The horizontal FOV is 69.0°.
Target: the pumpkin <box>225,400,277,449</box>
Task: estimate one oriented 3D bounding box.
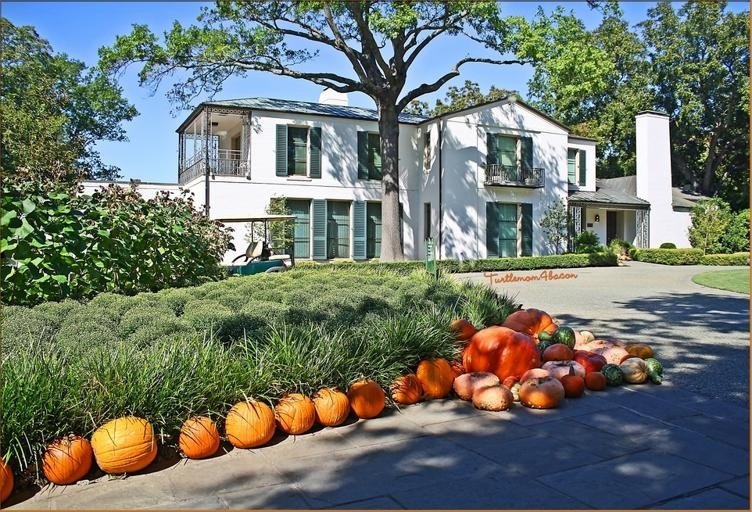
[{"bbox_3d":[-1.274,1.701,5.700,0.429,0.440,0.451,-2,-3,27],"label":"pumpkin"}]

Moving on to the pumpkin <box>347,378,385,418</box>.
[{"bbox_3d":[-0.123,1.636,6.238,0.369,0.385,0.385,-1,-1,-10],"label":"pumpkin"}]

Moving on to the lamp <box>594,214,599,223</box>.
[{"bbox_3d":[13.274,-2.266,33.084,0.315,0.471,0.448,4,-5,-5],"label":"lamp"}]

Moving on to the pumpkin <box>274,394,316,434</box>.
[{"bbox_3d":[-0.855,1.679,5.939,0.376,0.398,0.401,1,3,17],"label":"pumpkin"}]

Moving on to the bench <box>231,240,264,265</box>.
[{"bbox_3d":[-4.310,-0.147,18.363,0.835,0.887,1.518,-2,5,33],"label":"bench"}]

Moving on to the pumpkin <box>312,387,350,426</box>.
[{"bbox_3d":[-0.498,1.678,6.058,0.354,0.367,0.373,1,-1,8],"label":"pumpkin"}]
